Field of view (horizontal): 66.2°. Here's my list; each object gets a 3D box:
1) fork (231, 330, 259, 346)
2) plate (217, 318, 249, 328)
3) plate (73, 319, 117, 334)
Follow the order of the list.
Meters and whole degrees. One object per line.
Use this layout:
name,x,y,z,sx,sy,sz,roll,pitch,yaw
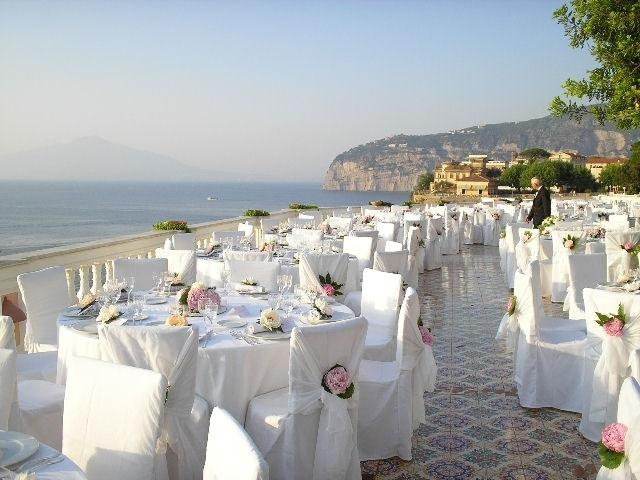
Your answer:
fork,-0.571,0.729,3.659,0.076,0.049,0.534,-15,9,-20
plate,-0.715,0.676,3.967,0.230,0.037,0.170,-2,4,-13
plate,-1.789,0.665,3.792,0.423,0.051,0.236,1,5,33
